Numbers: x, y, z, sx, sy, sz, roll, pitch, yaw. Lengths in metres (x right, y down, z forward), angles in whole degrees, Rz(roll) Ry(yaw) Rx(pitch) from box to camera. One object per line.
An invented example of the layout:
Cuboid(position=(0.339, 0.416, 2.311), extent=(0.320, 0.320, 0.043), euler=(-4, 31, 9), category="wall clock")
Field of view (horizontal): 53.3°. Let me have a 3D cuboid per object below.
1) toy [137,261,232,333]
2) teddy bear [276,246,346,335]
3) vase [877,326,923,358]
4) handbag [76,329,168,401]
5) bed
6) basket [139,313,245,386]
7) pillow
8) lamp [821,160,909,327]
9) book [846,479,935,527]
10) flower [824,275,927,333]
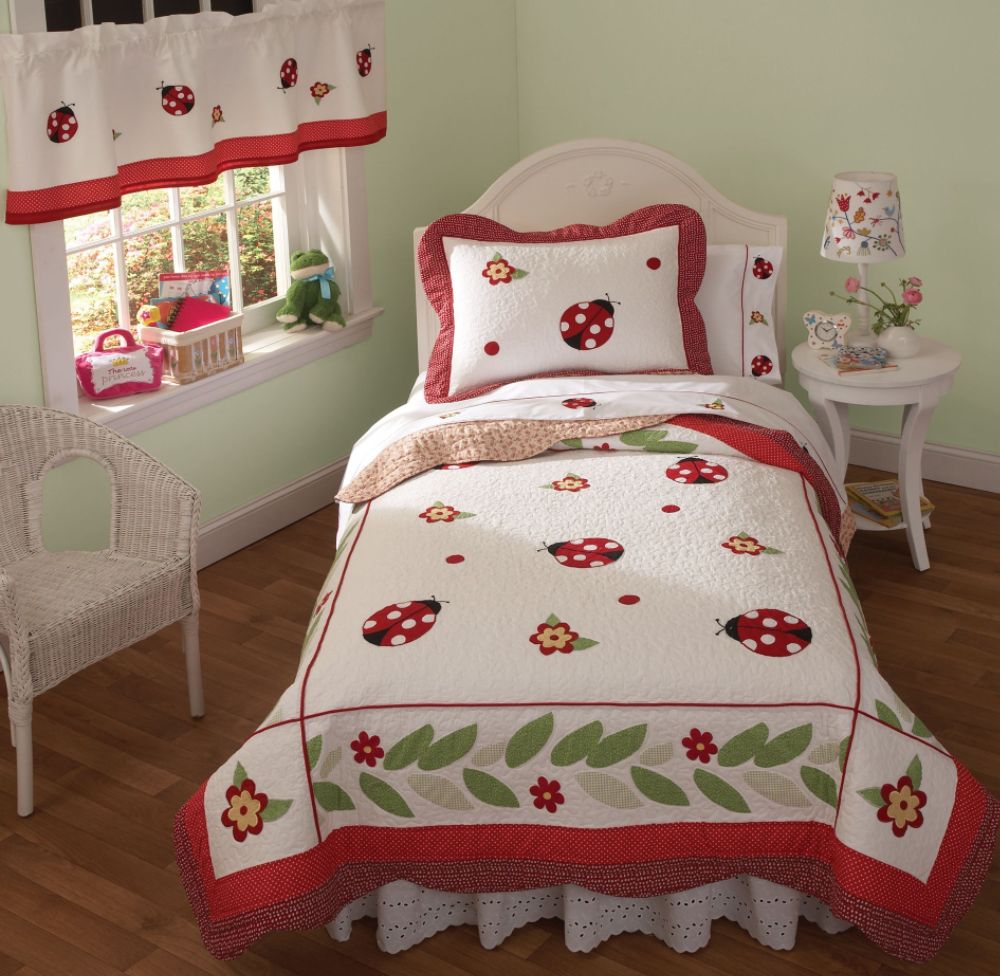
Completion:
Cuboid(position=(-0.978, -0.565, 3.088), extent=(0.271, 0.207, 0.087), euler=(-4, -9, -25), category="toy")
Cuboid(position=(-0.601, -0.687, 3.427), extent=(0.261, 0.265, 0.218), euler=(1, 17, 36), category="teddy bear")
Cuboid(position=(1.205, -0.439, 3.009), extent=(0.116, 0.074, 0.099), euler=(-1, 20, 3), category="vase")
Cuboid(position=(-1.071, -0.349, 2.815), extent=(0.274, 0.165, 0.103), euler=(-14, 22, -34), category="handbag")
Cuboid(position=(0.203, -0.069, 2.673), extent=(1.551, 0.995, 1.939), euler=(0, 40, 2), category="bed")
Cuboid(position=(-0.921, -0.467, 3.038), extent=(0.204, 0.125, 0.267), euler=(17, 14, 14), category="basket")
Cuboid(position=(0.317, -0.536, 2.923), extent=(0.970, 0.441, 0.124), euler=(-2, -13, -3), category="pillow")
Cuboid(position=(1.195, -0.743, 3.195), extent=(0.320, 0.508, 0.770), euler=(5, 20, 16), category="lamp")
Cuboid(position=(1.247, 0.056, 3.280), extent=(0.216, 0.062, 0.203), euler=(7, 20, 28), category="book")
Cuboid(position=(1.221, -0.607, 3.268), extent=(0.405, 0.212, 0.339), euler=(5, 16, 15), category="flower")
